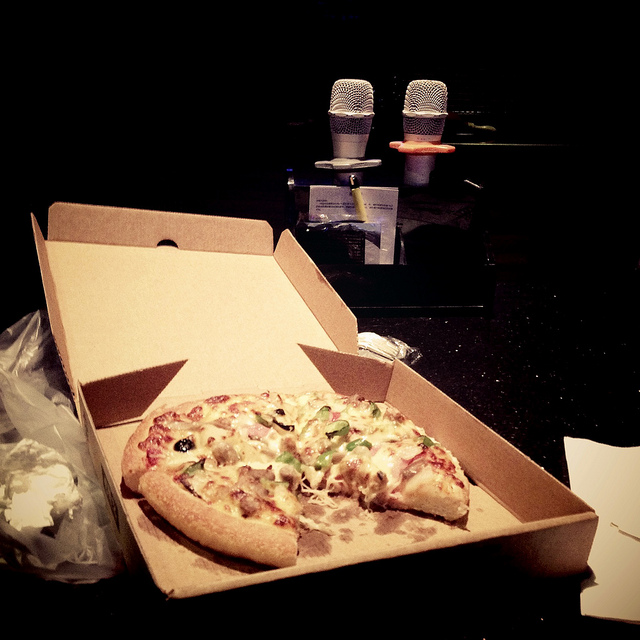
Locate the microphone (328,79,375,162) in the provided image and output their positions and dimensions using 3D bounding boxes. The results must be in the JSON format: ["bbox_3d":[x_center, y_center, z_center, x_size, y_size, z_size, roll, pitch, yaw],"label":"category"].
[{"bbox_3d":[0.065,-0.414,1.340,0.093,0.185,0.097,3,45,1],"label":"microphone"}]

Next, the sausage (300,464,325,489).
[{"bbox_3d":[-0.008,0.167,0.660,0.022,0.008,0.027,-12,83,11],"label":"sausage"}]

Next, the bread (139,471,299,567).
[{"bbox_3d":[-0.087,0.166,0.553,0.101,0.017,0.071,28,11,16],"label":"bread"}]

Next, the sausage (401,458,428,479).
[{"bbox_3d":[0.094,0.152,0.633,0.024,0.006,0.014,-43,35,-16],"label":"sausage"}]

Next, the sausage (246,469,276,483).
[{"bbox_3d":[-0.058,0.153,0.619,0.021,0.009,0.013,2,20,-37],"label":"sausage"}]

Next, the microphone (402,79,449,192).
[{"bbox_3d":[0.228,-0.437,1.372,0.093,0.198,0.232,10,47,7],"label":"microphone"}]

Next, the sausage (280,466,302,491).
[{"bbox_3d":[-0.030,0.159,0.631,0.020,0.020,0.007,46,29,6],"label":"sausage"}]

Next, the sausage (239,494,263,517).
[{"bbox_3d":[-0.064,0.170,0.567,0.015,0.005,0.016,15,35,9],"label":"sausage"}]
